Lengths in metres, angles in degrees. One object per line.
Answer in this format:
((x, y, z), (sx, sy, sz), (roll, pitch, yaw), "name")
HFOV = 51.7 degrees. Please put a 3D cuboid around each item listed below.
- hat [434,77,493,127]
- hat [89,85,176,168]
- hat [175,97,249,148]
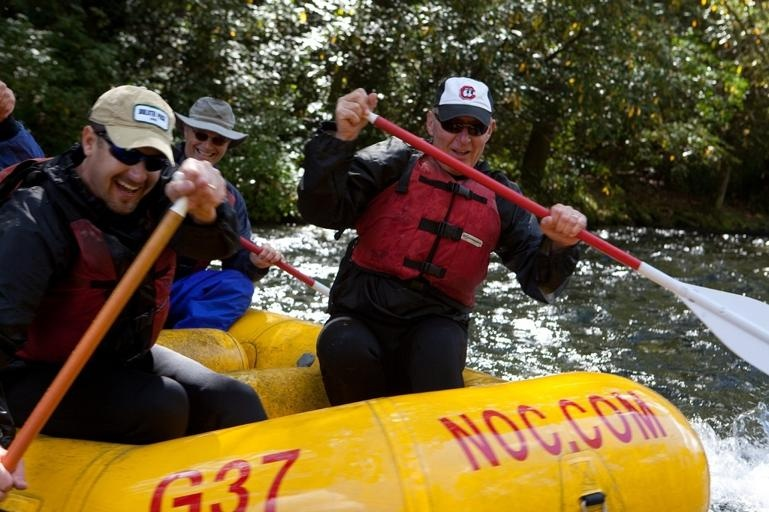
((0.413, -0.789, 4.074), (0.201, 0.165, 0.293), (9, 10, -8), "hat")
((-1.033, -0.576, 3.369), (0.372, 0.210, 0.266), (33, 12, 33), "hat")
((-1.113, -0.879, 4.978), (0.323, 0.144, 0.301), (21, -3, 28), "hat")
